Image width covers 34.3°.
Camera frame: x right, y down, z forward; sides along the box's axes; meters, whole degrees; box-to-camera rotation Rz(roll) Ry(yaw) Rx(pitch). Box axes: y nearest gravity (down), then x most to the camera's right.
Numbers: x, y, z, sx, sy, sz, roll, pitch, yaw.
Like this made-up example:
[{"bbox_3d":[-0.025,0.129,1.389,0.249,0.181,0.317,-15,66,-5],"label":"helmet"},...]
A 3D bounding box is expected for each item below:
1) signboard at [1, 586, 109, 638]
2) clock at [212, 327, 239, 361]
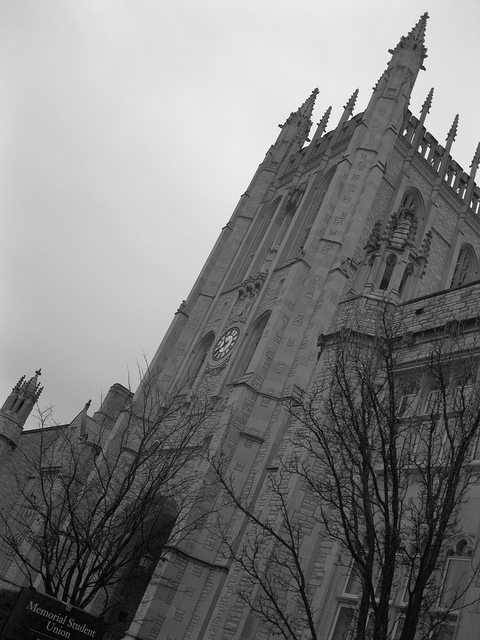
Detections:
[{"bbox_3d":[-2.600,4.150,10.794,1.197,0.801,0.711,24,-14,-12],"label":"signboard"},{"bbox_3d":[-0.532,1.039,32.609,0.130,1.167,1.176,33,-45,-8],"label":"clock"}]
